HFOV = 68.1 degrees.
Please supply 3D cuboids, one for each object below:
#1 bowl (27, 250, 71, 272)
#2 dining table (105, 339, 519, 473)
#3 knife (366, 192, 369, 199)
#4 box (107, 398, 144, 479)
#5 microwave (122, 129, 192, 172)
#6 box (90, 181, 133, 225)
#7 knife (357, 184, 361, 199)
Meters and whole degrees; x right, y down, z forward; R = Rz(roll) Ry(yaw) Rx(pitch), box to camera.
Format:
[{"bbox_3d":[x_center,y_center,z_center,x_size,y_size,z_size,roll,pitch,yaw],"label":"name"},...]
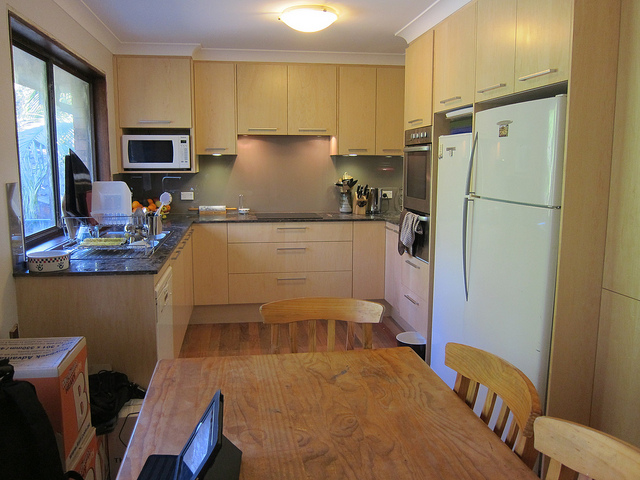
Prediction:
[{"bbox_3d":[-1.509,0.117,2.630,0.197,0.094,0.154,-6,11,-33],"label":"bowl"},{"bbox_3d":[-0.047,0.518,1.640,1.155,0.220,0.756,-2,9,-11],"label":"dining table"},{"bbox_3d":[0.516,-0.472,5.055,0.012,0.053,0.053,15,-37,-9],"label":"knife"},{"bbox_3d":[-1.008,1.052,2.517,0.185,0.412,0.234,1,9,4],"label":"box"},{"bbox_3d":[-1.591,-0.849,4.600,0.631,0.433,0.416,-1,8,-10],"label":"microwave"},{"bbox_3d":[-1.405,-0.266,3.345,0.289,0.390,0.261,2,7,9],"label":"box"},{"bbox_3d":[0.414,-0.559,5.091,0.030,0.216,0.024,-14,-30,36],"label":"knife"}]
